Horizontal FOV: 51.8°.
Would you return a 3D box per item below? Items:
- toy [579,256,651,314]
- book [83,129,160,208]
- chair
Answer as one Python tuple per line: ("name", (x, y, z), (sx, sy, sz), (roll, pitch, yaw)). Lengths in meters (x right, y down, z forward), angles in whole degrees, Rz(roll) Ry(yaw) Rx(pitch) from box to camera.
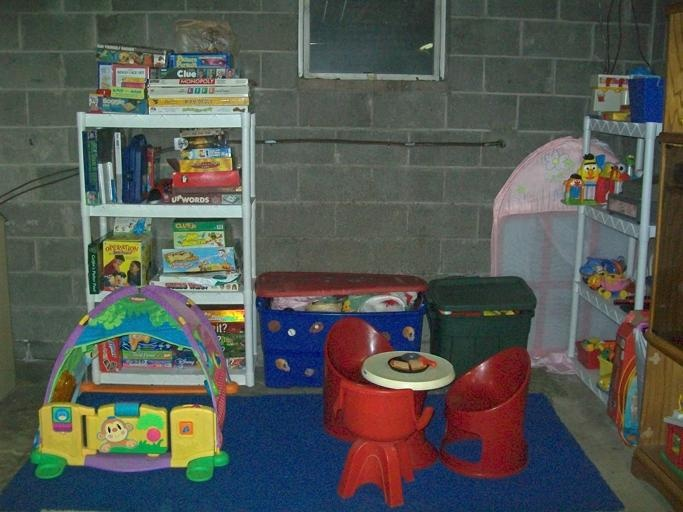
("toy", (1.685, 0.171, 4.360), (0.224, 0.127, 0.365), (2, 13, -16))
("book", (-1.341, -0.571, 4.350), (0.385, 0.445, 0.415), (-2, 12, -7))
("chair", (0.441, 0.775, 3.639), (0.953, 0.497, 0.827), (-3, 16, -5))
